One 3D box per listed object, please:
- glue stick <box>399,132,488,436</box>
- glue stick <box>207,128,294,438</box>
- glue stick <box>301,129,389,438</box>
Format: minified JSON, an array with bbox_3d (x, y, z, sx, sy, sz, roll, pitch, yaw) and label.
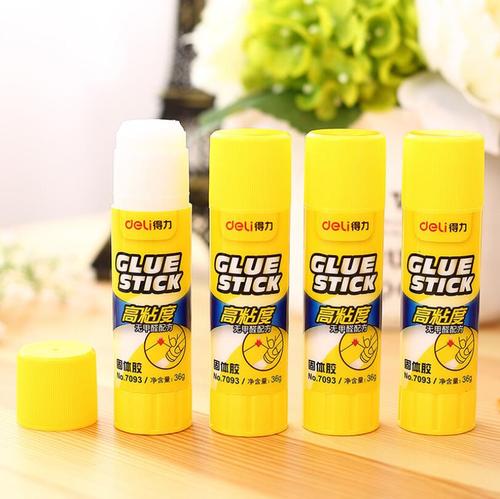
[{"bbox_3d":[0.138,0.027,0.439,0.064,0.215,0.063,1,5,11],"label":"glue stick"},{"bbox_3d":[-0.002,0.020,0.420,0.068,0.207,0.062,-1,13,-5],"label":"glue stick"},{"bbox_3d":[0.058,0.021,0.421,0.064,0.210,0.062,0,-3,1],"label":"glue stick"}]
